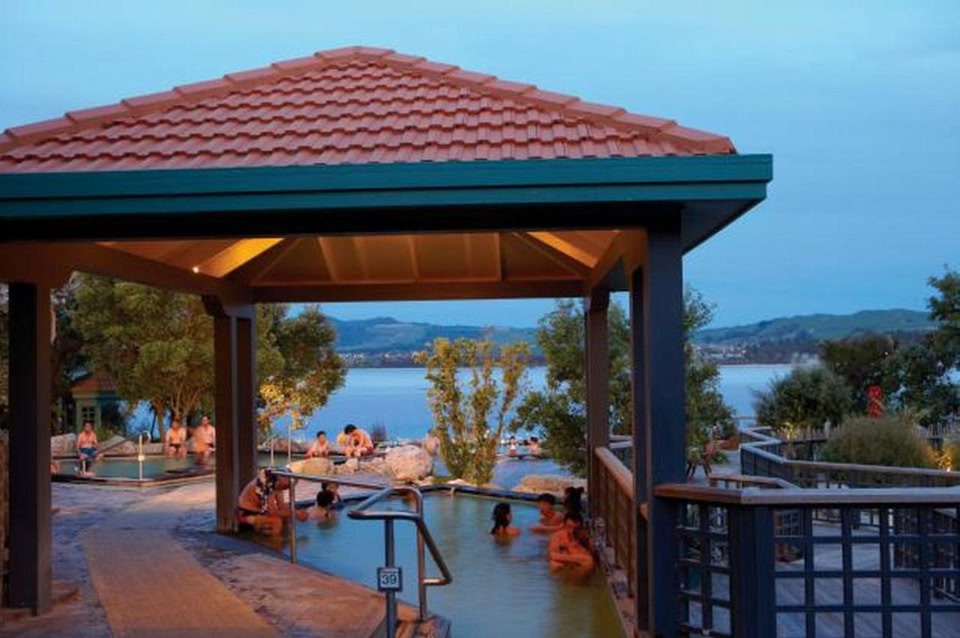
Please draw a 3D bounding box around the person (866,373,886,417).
[{"bbox_3d":[9.773,2.011,20.769,0.436,0.947,1.762,-10,-18,18],"label":"person"}]

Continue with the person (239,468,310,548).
[{"bbox_3d":[-3.231,2.710,12.433,0.747,0.977,0.806,1,-8,-15],"label":"person"}]

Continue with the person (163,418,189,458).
[{"bbox_3d":[-7.796,3.018,21.326,0.478,0.928,1.201,2,-8,-19],"label":"person"}]

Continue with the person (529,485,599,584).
[{"bbox_3d":[1.212,2.807,11.514,0.924,1.620,0.635,7,6,25],"label":"person"}]

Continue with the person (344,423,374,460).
[{"bbox_3d":[-2.994,2.998,20.467,0.620,0.772,0.998,1,-8,-11],"label":"person"}]

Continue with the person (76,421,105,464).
[{"bbox_3d":[-9.306,2.944,19.638,0.570,1.087,0.597,-5,-6,25],"label":"person"}]

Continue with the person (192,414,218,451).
[{"bbox_3d":[-6.623,2.737,19.923,0.426,0.895,0.869,3,-8,-22],"label":"person"}]
